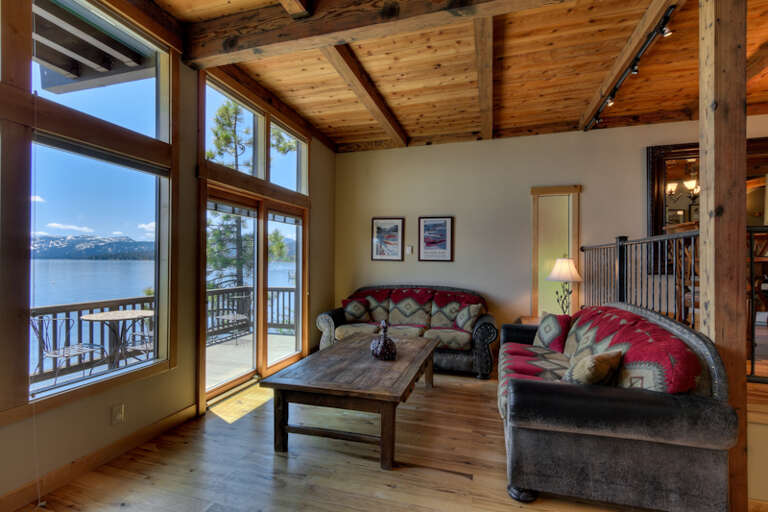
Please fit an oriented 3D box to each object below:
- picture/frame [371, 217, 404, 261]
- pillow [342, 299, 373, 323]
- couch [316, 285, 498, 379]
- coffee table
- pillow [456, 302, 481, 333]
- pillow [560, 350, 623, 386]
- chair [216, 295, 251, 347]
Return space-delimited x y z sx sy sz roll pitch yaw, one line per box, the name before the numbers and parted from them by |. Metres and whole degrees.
picture/frame | 0.068 -0.245 7.545 0.654 0.793 0.054 0 -5 17
pillow | -0.360 0.691 6.959 0.320 0.292 0.142 -3 -21 0
couch | 0.287 0.882 6.820 2.220 0.868 0.792 2 12 16
coffee table | -0.347 1.110 4.823 0.974 0.438 1.540 0 2 14
pillow | 1.018 0.735 6.570 0.098 0.291 0.315 31 -12 -18
pillow | 1.689 0.910 4.344 0.310 0.289 0.138 15 13 -23
chair | -1.602 0.647 5.929 0.416 0.430 0.481 -1 -7 13
